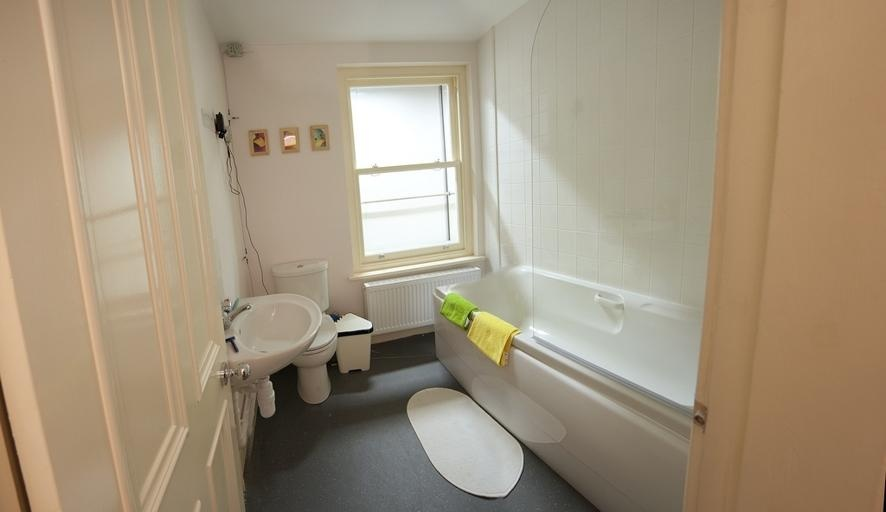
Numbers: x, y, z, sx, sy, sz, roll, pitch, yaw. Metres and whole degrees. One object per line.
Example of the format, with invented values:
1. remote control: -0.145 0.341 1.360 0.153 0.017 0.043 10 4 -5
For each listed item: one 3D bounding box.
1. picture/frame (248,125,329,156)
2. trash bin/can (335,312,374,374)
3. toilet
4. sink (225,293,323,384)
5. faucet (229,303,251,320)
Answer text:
1. picture/frame: -1.074 -0.816 3.960 0.553 0.197 0.085 -9 17 -12
2. trash bin/can: -0.613 0.601 3.910 0.256 0.345 0.315 -9 16 -10
3. toilet: -0.891 0.488 3.664 0.418 0.765 0.742 -6 22 -16
4. sink: -0.831 0.415 2.846 0.405 0.106 0.436 -5 27 -13
5. faucet: -0.993 0.267 2.740 0.137 0.031 0.041 -38 -24 6
